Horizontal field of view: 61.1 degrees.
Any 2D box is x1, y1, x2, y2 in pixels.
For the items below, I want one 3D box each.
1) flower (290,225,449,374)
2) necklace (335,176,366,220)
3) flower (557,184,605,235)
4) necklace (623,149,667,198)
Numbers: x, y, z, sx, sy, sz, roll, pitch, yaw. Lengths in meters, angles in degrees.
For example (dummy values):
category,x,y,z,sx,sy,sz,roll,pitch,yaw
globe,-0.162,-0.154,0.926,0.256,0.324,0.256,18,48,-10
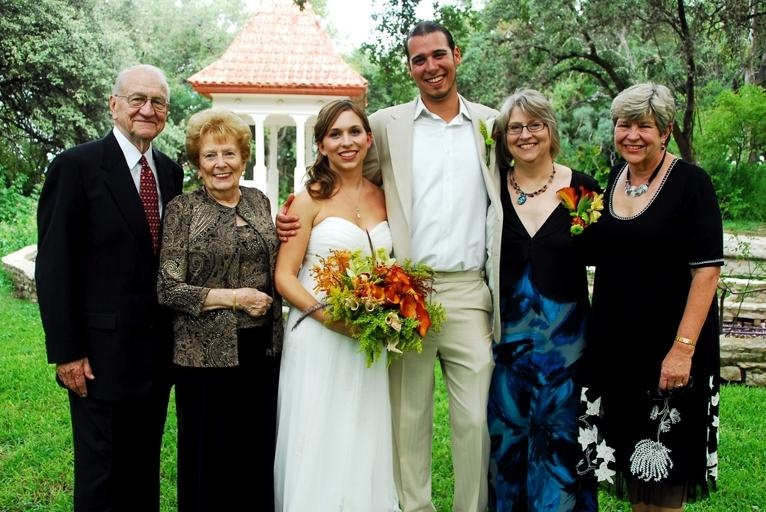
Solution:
category,x,y,z,sx,sy,sz,roll,pitch,yaw
flower,-0.128,0.329,5.098,0.912,0.791,0.968,-12,14,-28
necklace,-0.247,-0.455,5.225,0.288,0.280,0.083,28,8,27
flower,1.539,-0.351,5.111,0.438,0.354,0.331,1,-3,42
necklace,2.010,-0.621,4.961,0.059,0.399,0.259,13,9,-42
